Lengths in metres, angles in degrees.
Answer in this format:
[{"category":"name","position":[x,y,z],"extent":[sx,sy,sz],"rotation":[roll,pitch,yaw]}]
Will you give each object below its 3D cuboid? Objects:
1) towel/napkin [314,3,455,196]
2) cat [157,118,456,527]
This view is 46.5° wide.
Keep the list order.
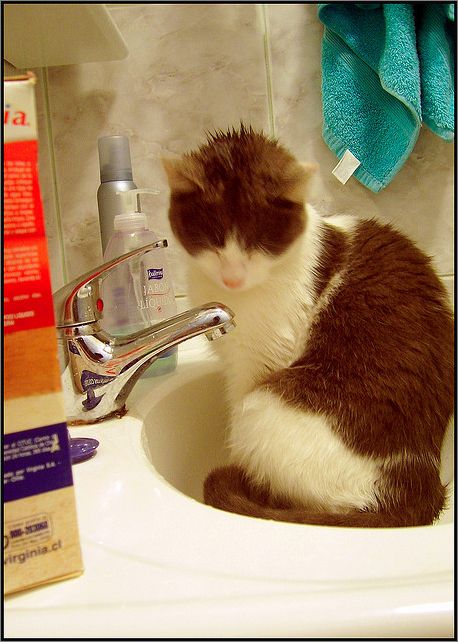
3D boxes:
[{"category":"towel/napkin","position":[0.216,-0.303,0.753],"extent":[0.096,0.187,0.238],"rotation":[-4,104,-9]},{"category":"cat","position":[0.087,0.008,0.749],"extent":[0.371,0.351,0.537],"rotation":[2,86,-24]}]
